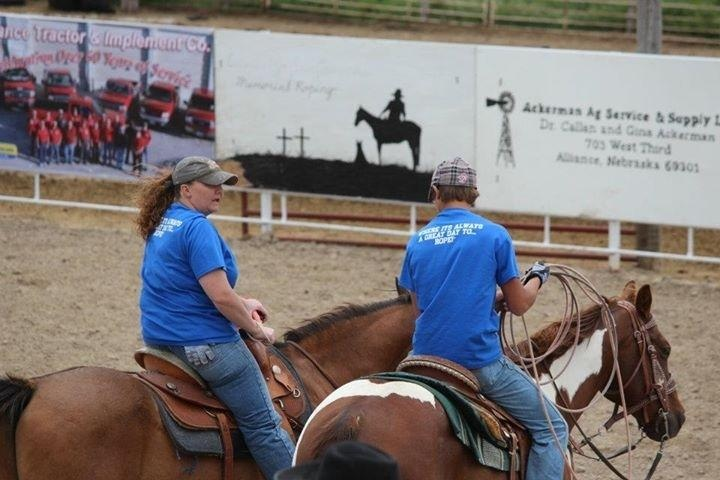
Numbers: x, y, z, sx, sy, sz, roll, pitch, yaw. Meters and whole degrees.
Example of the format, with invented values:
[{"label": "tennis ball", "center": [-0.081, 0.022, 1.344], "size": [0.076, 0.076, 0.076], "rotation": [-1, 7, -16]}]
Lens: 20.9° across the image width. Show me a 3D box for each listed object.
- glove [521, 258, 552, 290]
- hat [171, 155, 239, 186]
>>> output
[{"label": "glove", "center": [2.226, 0.440, 24.890], "size": [0.182, 0.231, 0.505], "rotation": [30, 35, 9]}, {"label": "hat", "center": [-2.031, -0.873, 25.097], "size": [0.628, 0.296, 0.417], "rotation": [-1, 3, 0]}]
